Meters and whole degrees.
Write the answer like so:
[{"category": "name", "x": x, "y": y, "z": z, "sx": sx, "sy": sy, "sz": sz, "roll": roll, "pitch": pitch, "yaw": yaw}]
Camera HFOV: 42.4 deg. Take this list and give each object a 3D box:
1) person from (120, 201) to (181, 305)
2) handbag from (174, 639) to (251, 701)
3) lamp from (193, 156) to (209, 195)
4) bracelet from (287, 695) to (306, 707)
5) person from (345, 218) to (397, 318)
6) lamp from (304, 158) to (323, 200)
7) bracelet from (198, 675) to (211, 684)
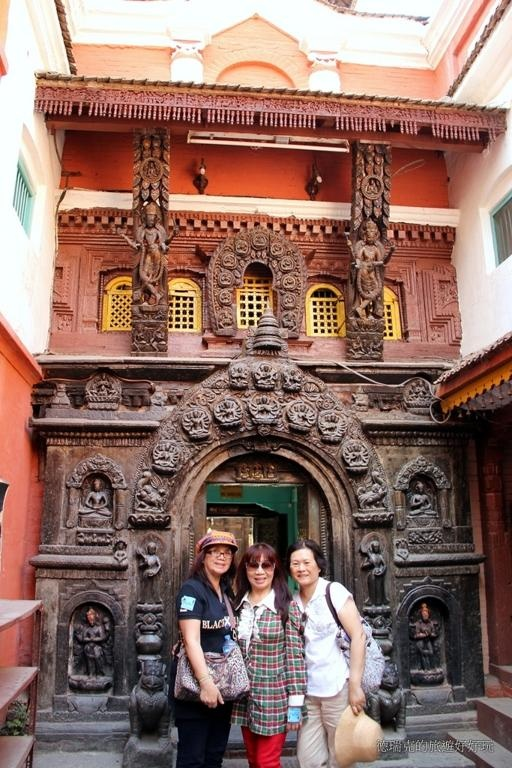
[{"category": "person", "x": -1.084, "y": -1.339, "z": 6.823, "sx": 0.456, "sy": 1.046, "sz": 0.336, "roll": 4, "pitch": -19, "yaw": -11}, {"category": "handbag", "x": -0.216, "y": 1.381, "z": 3.193, "sx": 0.331, "sy": 0.324, "sz": 0.150, "roll": -1, "pitch": -31, "yaw": -17}, {"category": "lamp", "x": -0.643, "y": -2.446, "z": 7.725, "sx": 0.186, "sy": 0.486, "sz": 0.190, "roll": 2, "pitch": -19, "yaw": -6}, {"category": "bracelet", "x": 0.208, "y": 1.571, "z": 3.296, "sx": 0.099, "sy": 0.069, "sz": 0.055, "roll": 3, "pitch": -12, "yaw": -12}, {"category": "person", "x": 1.229, "y": -1.235, "z": 7.167, "sx": 0.418, "sy": 1.081, "sz": 0.410, "roll": -3, "pitch": -19, "yaw": 9}, {"category": "lamp", "x": 0.693, "y": -2.473, "z": 7.918, "sx": 0.213, "sy": 0.568, "sz": 0.166, "roll": -2, "pitch": -19, "yaw": 6}, {"category": "bracelet", "x": -0.235, "y": 1.379, "z": 3.096, "sx": 0.041, "sy": 0.016, "sz": 0.036, "roll": -42, "pitch": -17, "yaw": 27}]
